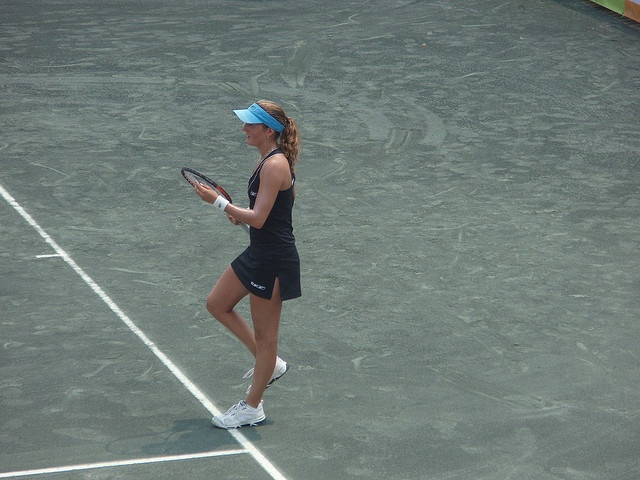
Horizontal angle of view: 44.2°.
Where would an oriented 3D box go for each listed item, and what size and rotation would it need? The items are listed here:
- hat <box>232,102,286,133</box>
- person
[{"bbox_3d":[-0.540,-1.066,6.881,0.499,0.100,0.249,12,7,-20],"label":"hat"},{"bbox_3d":[-0.584,0.244,6.966,0.835,2.947,1.205,3,25,-7],"label":"person"}]
